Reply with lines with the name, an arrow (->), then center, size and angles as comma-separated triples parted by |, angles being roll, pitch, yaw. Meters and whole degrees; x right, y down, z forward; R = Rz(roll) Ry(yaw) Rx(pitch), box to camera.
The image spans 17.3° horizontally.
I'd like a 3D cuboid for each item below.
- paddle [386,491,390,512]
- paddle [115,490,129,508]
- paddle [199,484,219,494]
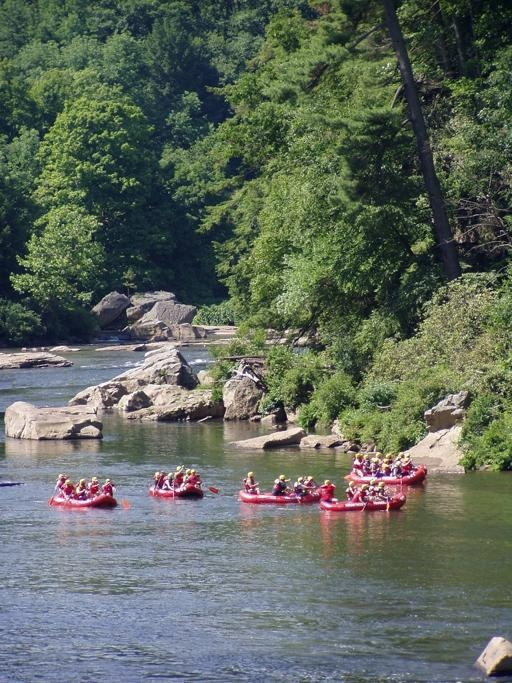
paddle -> 3.890, 4.736, 49.027 | 0.102, 0.396, 0.345 | -1, 9, 5
paddle -> -4.010, 4.779, 50.596 | 0.328, 0.085, 0.589 | -9, 42, -16
paddle -> -1.376, 4.591, 51.789 | 0.164, 0.213, 0.944 | 4, -4, -37
